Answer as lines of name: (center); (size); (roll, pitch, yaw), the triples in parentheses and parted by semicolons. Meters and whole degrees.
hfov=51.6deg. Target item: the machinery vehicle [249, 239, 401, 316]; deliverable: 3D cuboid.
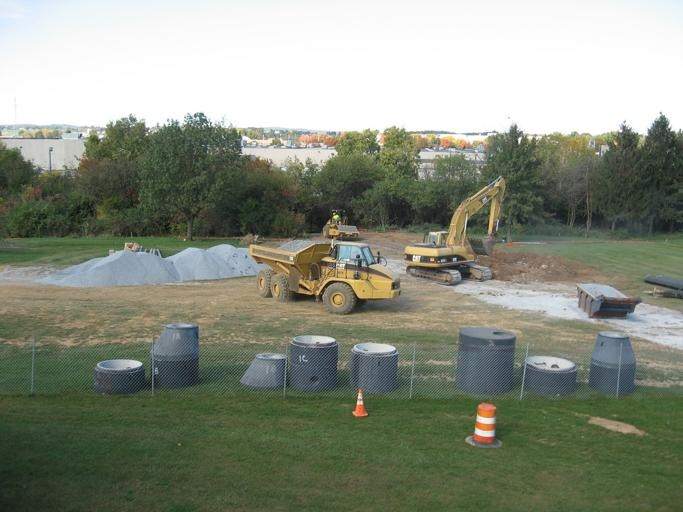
machinery vehicle: (-0.612, 0.660, 27.368); (5.974, 2.643, 1.801); (8, 10, 43)

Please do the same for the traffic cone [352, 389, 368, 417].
traffic cone: (0.452, 3.473, 16.984); (0.368, 0.565, 0.729); (2, 7, 2)

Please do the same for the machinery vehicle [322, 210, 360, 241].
machinery vehicle: (0.281, -2.331, 58.847); (1.843, 2.912, 6.165); (-2, 5, -16)

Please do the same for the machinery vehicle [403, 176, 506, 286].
machinery vehicle: (6.105, -1.331, 35.819); (5.629, 4.957, 2.915); (-6, 13, -32)
